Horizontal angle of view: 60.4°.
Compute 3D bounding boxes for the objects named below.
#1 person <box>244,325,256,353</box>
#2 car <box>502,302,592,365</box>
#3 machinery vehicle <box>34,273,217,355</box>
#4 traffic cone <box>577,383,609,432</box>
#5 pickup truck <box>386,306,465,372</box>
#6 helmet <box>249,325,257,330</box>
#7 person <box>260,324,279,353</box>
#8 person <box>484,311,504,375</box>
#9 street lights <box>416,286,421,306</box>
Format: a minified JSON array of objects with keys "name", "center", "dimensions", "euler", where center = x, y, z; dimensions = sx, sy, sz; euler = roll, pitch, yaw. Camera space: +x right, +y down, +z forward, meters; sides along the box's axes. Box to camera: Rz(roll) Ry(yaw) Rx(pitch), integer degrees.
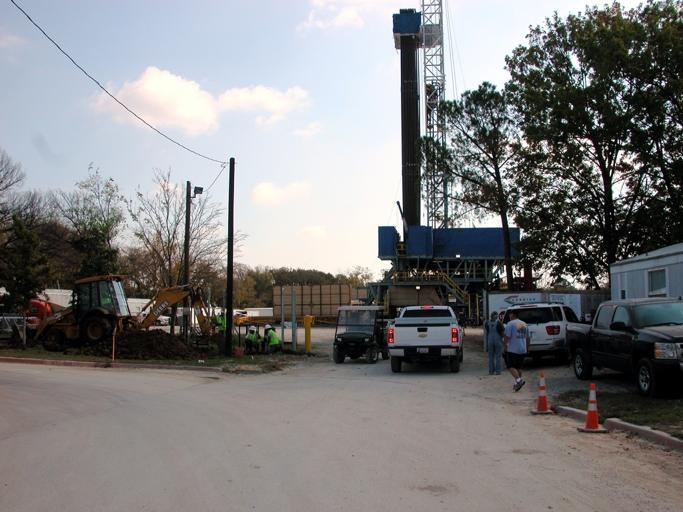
[{"name":"person","center":[-4.323,4.009,27.947],"dimensions":[0.552,1.481,0.498],"euler":[1,-5,-6]},{"name":"car","center":[7.443,2.809,21.100],"dimensions":[1.638,1.789,3.647],"euler":[-2,-1,27]},{"name":"machinery vehicle","center":[-11.012,2.678,29.144],"dimensions":[8.298,3.851,2.802],"euler":[-2,-7,-7]},{"name":"traffic cone","center":[4.802,2.887,11.252],"dimensions":[0.590,0.825,0.646],"euler":[5,-4,-8]},{"name":"pickup truck","center":[3.069,3.000,21.501],"dimensions":[2.496,2.478,2.947],"euler":[0,-7,8]},{"name":"helmet","center":[-4.322,3.526,28.621],"dimensions":[0.221,0.203,0.339],"euler":[0,-5,-7]},{"name":"person","center":[-3.409,4.053,28.812],"dimensions":[0.940,1.337,2.511],"euler":[2,-8,-8]},{"name":"person","center":[5.315,3.009,20.337],"dimensions":[0.573,2.121,1.605],"euler":[-1,-7,15]},{"name":"street lights","center":[5.888,3.065,44.383],"dimensions":[0.272,1.116,0.675],"euler":[0,-6,2]}]
